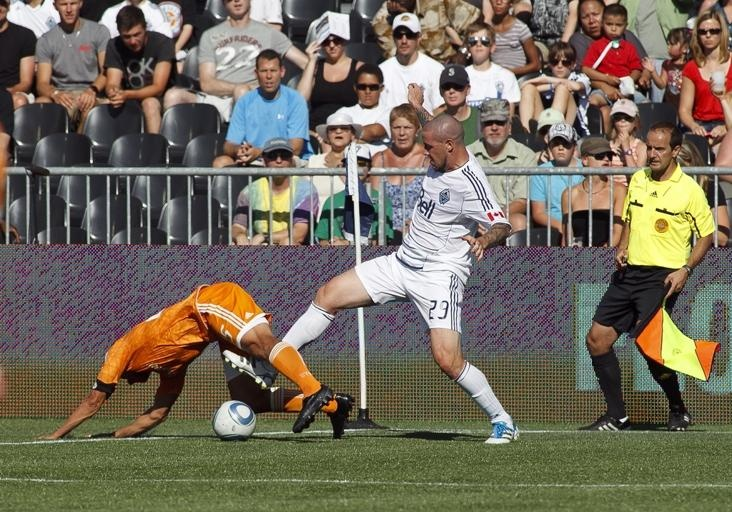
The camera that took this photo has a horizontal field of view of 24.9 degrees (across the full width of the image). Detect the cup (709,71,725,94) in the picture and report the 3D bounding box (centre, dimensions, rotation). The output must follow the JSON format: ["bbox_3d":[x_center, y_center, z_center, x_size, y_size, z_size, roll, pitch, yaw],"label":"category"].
[{"bbox_3d":[4.253,-2.088,19.937,0.212,0.363,0.214,-1,-2,0],"label":"cup"}]

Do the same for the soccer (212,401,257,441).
[{"bbox_3d":[-1.220,1.527,15.237,0.333,0.359,0.355,5,22,-18],"label":"soccer"}]

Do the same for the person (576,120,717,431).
[{"bbox_3d":[2.800,0.197,16.360,1.207,2.982,0.626,0,11,-1],"label":"person"}]

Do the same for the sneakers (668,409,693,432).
[{"bbox_3d":[3.142,1.647,16.520,0.149,0.205,0.442,-3,-5,16],"label":"sneakers"}]

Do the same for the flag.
[{"bbox_3d":[3.043,0.878,16.093,0.696,0.590,0.249,25,-12,12],"label":"flag"}]
